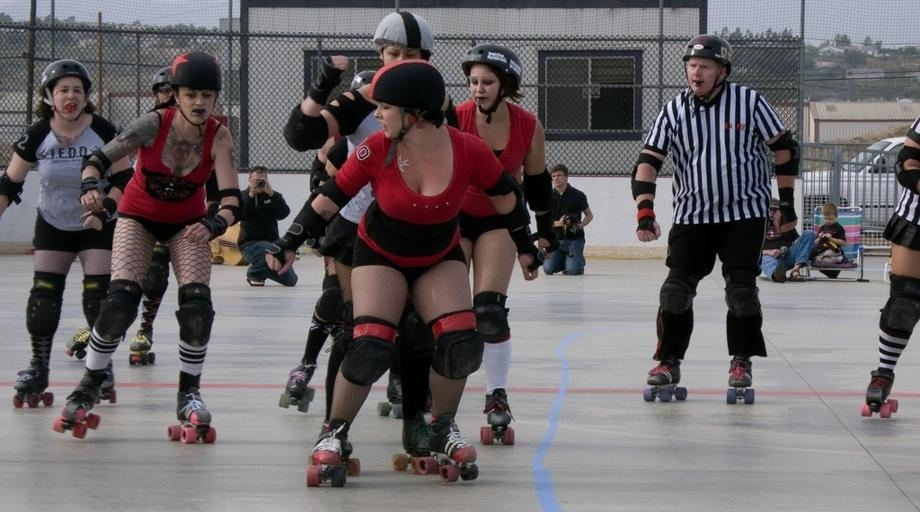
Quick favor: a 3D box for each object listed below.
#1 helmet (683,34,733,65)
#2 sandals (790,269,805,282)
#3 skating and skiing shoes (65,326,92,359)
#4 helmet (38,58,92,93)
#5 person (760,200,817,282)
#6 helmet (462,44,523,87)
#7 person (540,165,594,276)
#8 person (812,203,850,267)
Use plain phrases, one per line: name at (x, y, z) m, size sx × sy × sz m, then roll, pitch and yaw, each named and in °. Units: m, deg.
helmet at (2.218, -1.814, 9.383) m, size 0.421 × 0.255 × 0.267 m, roll 3°, pitch 11°, yaw 11°
sandals at (5.237, 0.292, 16.339) m, size 0.122 × 0.120 × 0.329 m, roll -1°, pitch -2°, yaw 4°
skating and skiing shoes at (-3.720, 0.790, 10.368) m, size 0.128 × 0.168 × 0.378 m, roll 20°, pitch 22°, yaw 13°
helmet at (-3.506, -1.572, 9.262) m, size 0.290 × 0.201 × 0.365 m, roll 2°, pitch 6°, yaw -27°
person at (5.040, -0.323, 16.188) m, size 0.824 × 1.250 × 1.140 m, roll -5°, pitch 8°, yaw -2°
helmet at (0.282, -1.568, 8.625) m, size 0.420 × 0.239 × 0.315 m, roll 19°, pitch 2°, yaw -12°
person at (1.793, -0.487, 17.302) m, size 1.015 × 1.989 × 0.993 m, roll 1°, pitch 1°, yaw 14°
person at (5.825, -0.267, 16.496) m, size 0.396 × 1.115 × 0.436 m, roll -1°, pitch 2°, yaw -36°
